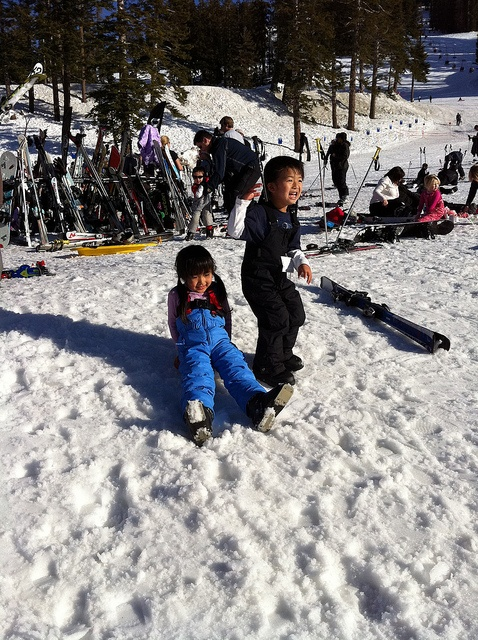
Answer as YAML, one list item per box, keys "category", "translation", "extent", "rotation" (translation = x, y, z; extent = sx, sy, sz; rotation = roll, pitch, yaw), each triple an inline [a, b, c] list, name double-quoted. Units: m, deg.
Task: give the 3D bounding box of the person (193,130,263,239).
- category: "person"
  translation: [-0.153, -1.840, 6.555]
  extent: [0.857, 1.289, 0.747]
  rotation: [5, 32, 28]

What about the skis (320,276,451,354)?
- category: "skis"
  translation: [1.018, -0.091, 3.913]
  extent: [0.246, 0.254, 1.417]
  rotation: [-23, 34, -17]

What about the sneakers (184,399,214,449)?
- category: "sneakers"
  translation: [-0.187, 0.477, 2.366]
  extent: [0.133, 0.186, 0.149]
  rotation: [-5, 23, -4]

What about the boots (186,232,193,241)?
- category: "boots"
  translation: [-0.759, -1.297, 7.754]
  extent: [0.103, 0.126, 0.048]
  rotation: [2, 2, 2]

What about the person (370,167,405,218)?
- category: "person"
  translation: [2.293, -1.974, 7.774]
  extent: [0.487, 0.742, 0.508]
  rotation: [2, 23, 13]

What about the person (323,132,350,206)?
- category: "person"
  translation: [1.915, -2.903, 9.706]
  extent: [0.412, 1.326, 1.065]
  rotation: [1, 23, 10]

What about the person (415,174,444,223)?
- category: "person"
  translation: [2.668, -1.688, 6.965]
  extent: [0.392, 0.614, 0.869]
  rotation: [6, 24, 21]

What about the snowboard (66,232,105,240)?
- category: "snowboard"
  translation: [-2.250, -1.231, 7.323]
  extent: [0.508, 0.087, 0.223]
  rotation: [1, 6, -23]

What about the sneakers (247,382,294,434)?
- category: "sneakers"
  translation: [0.151, 0.437, 2.469]
  extent: [0.072, 0.201, 0.143]
  rotation: [31, -1, -31]

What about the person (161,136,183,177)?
- category: "person"
  translation: [-1.203, -2.947, 9.008]
  extent: [0.314, 0.220, 1.519]
  rotation: [-10, 31, -3]

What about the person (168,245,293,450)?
- category: "person"
  translation: [-0.160, 0.035, 2.789]
  extent: [0.514, 0.680, 1.237]
  rotation: [-6, 35, -21]
